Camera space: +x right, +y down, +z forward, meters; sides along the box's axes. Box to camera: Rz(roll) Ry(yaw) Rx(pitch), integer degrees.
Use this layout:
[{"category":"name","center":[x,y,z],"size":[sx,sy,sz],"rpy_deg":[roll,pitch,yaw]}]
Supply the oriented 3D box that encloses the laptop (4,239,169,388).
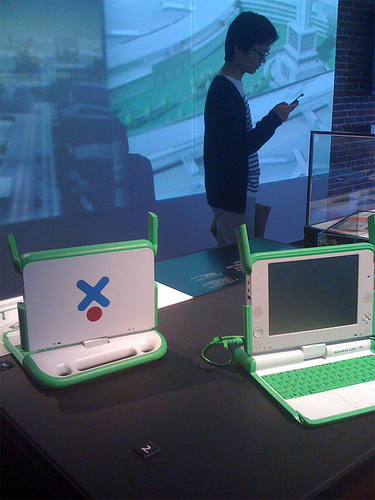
[{"category":"laptop","center":[-0.251,0.079,1.056],"size":[0.328,0.275,0.325],"rpy_deg":[-8,14,-34]}]

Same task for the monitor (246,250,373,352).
[{"category":"monitor","center":[0.261,0.110,0.969],"size":[0.224,0.159,0.030],"rpy_deg":[-5,7,-20]}]

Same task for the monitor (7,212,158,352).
[{"category":"monitor","center":[-0.355,0.078,1.323],"size":[0.493,0.414,0.180],"rpy_deg":[-9,17,-32]}]

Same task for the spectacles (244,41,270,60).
[{"category":"spectacles","center":[0.529,-1.542,3.355],"size":[0.104,0.108,0.031],"rpy_deg":[-30,-18,-52]}]

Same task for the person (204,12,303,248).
[{"category":"person","center":[0.480,-0.953,3.433],"size":[0.774,1.783,0.403],"rpy_deg":[-13,18,-38]}]

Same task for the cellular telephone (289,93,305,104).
[{"category":"cellular telephone","center":[0.986,-1.356,3.920],"size":[0.148,0.039,0.087],"rpy_deg":[-39,5,21]}]

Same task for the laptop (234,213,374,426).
[{"category":"laptop","center":[0.300,0.077,0.976],"size":[0.403,0.379,0.334],"rpy_deg":[-5,11,-25]}]
